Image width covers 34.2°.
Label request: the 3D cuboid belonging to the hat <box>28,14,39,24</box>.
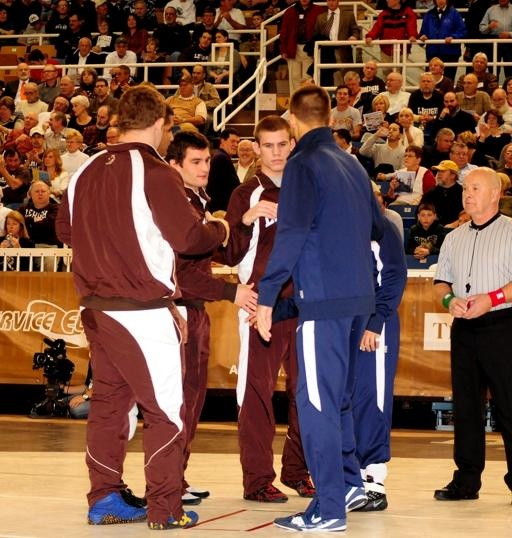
[{"bbox_3d":[-4.920,-5.580,18.487,0.217,0.241,0.211,-1,0,-14],"label":"hat"}]

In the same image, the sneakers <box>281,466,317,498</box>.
[{"bbox_3d":[0.257,1.265,4.935,0.098,0.102,0.275,0,7,-42],"label":"sneakers"}]

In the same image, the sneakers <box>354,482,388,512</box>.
[{"bbox_3d":[0.583,1.223,4.405,0.235,0.137,0.072,-1,-37,-13],"label":"sneakers"}]

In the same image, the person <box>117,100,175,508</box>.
[{"bbox_3d":[-0.484,0.107,4.397,0.320,1.947,0.286,5,-6,2],"label":"person"}]

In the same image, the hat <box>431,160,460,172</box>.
[{"bbox_3d":[2.330,-1.263,10.216,0.286,0.089,0.166,2,-1,-9],"label":"hat"}]

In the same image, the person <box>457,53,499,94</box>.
[{"bbox_3d":[3.276,-2.808,12.384,0.641,0.781,0.470,6,11,8],"label":"person"}]

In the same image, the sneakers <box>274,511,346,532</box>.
[{"bbox_3d":[0.253,1.196,3.947,0.322,0.097,0.106,3,-23,5],"label":"sneakers"}]

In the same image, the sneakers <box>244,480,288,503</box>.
[{"bbox_3d":[0.056,1.255,4.635,0.229,0.075,0.090,-5,-9,20],"label":"sneakers"}]

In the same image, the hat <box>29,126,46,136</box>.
[{"bbox_3d":[-3.444,-2.187,13.072,0.293,0.123,0.416,-4,1,-5],"label":"hat"}]

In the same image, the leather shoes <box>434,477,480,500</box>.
[{"bbox_3d":[1.151,1.281,4.799,0.256,0.086,0.097,3,-11,-3],"label":"leather shoes"}]

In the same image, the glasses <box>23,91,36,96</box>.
[{"bbox_3d":[-3.934,-3.022,14.395,0.233,0.080,0.136,-1,0,36],"label":"glasses"}]

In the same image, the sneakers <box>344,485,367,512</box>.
[{"bbox_3d":[0.503,1.194,4.323,0.075,0.085,0.194,16,-50,-27],"label":"sneakers"}]

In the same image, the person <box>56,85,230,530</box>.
[{"bbox_3d":[-0.585,0.173,4.041,0.704,2.143,0.368,-1,1,30],"label":"person"}]

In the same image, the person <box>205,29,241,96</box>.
[{"bbox_3d":[-0.643,-3.621,14.392,0.840,0.929,0.622,-8,23,-15],"label":"person"}]

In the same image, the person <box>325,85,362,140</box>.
[{"bbox_3d":[1.236,-2.286,12.201,0.632,0.797,0.539,5,12,25],"label":"person"}]

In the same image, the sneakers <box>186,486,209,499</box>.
[{"bbox_3d":[-0.328,1.259,4.671,0.154,0.051,0.047,12,7,8],"label":"sneakers"}]

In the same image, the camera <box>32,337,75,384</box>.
[{"bbox_3d":[-1.932,0.904,8.255,0.410,0.423,0.474,3,-7,-7],"label":"camera"}]

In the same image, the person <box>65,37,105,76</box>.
[{"bbox_3d":[-3.281,-4.007,15.994,0.660,0.789,1.003,-1,0,-23],"label":"person"}]

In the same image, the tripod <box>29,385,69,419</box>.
[{"bbox_3d":[-2.060,1.337,8.397,0.360,0.373,0.163,2,-12,1],"label":"tripod"}]

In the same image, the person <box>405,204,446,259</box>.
[{"bbox_3d":[1.930,-0.410,9.535,0.447,0.436,0.715,-1,7,10],"label":"person"}]

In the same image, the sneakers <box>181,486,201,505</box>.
[{"bbox_3d":[-0.350,1.244,4.534,0.049,0.052,0.139,1,-4,-40],"label":"sneakers"}]

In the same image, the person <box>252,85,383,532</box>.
[{"bbox_3d":[0.315,0.158,4.082,0.422,2.143,0.575,-1,1,34],"label":"person"}]
